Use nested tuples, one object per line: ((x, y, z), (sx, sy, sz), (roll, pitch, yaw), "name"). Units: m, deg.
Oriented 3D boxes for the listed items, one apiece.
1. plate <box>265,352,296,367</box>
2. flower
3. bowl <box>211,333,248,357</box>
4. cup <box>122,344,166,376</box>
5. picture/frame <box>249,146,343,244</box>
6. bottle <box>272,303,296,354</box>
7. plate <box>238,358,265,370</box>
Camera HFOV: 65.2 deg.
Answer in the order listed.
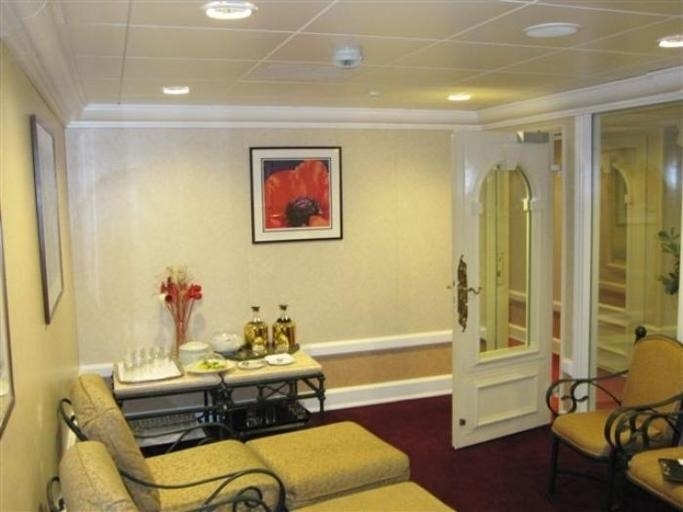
((-0.536, 0.889, 4.673), (0.261, 0.042, 0.333), (-3, 7, -9), "plate")
((-1.461, 0.493, 4.957), (0.391, 0.797, 0.147), (-4, 8, -19), "flower")
((-1.018, 0.783, 4.774), (0.212, 0.115, 0.210), (4, 2, 0), "bowl")
((-1.601, 0.839, 4.388), (0.290, 0.116, 0.176), (-2, 3, -21), "cup")
((-0.481, -0.626, 5.226), (0.975, 0.958, 0.066), (-2, 3, -18), "picture/frame")
((-0.532, 0.645, 4.949), (0.202, 0.421, 0.313), (-5, 8, -25), "bottle")
((-0.757, 0.909, 4.546), (0.236, 0.040, 0.242), (-3, 7, -10), "plate")
